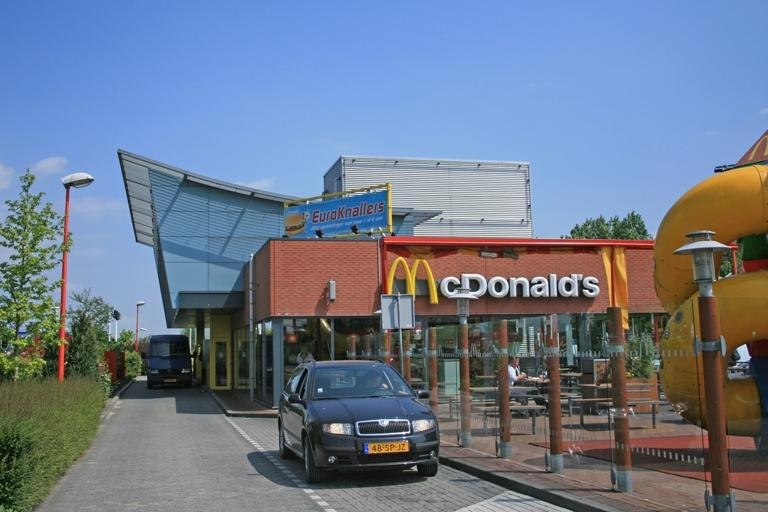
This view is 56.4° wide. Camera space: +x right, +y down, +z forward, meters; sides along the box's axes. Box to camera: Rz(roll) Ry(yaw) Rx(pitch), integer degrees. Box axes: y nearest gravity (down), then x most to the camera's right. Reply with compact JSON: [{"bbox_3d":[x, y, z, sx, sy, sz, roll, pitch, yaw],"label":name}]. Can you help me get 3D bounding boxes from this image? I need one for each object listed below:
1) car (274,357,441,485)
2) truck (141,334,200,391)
[{"bbox_3d":[-0.701,3.161,14.119,2.136,2.319,3.331,9,-15,-43],"label":"car"},{"bbox_3d":[-12.688,6.177,42.110,2.501,3.116,1.368,0,-10,-8],"label":"truck"}]
